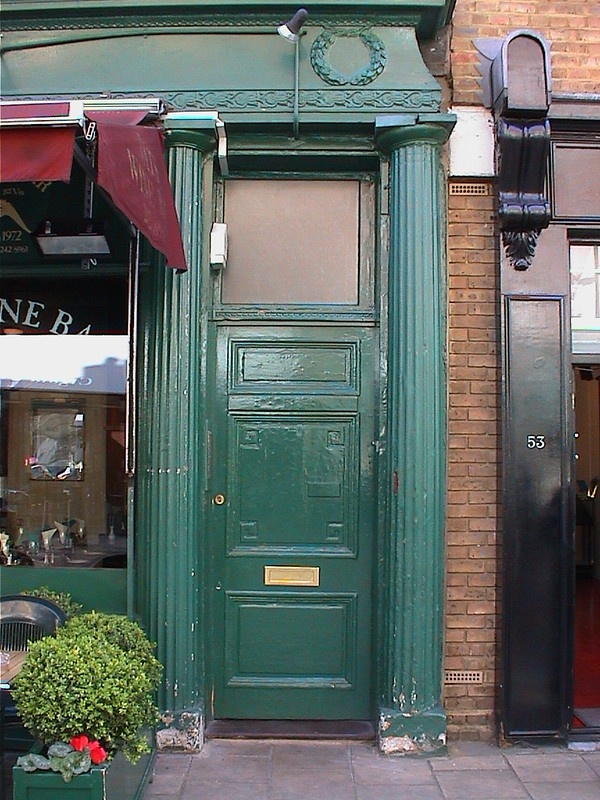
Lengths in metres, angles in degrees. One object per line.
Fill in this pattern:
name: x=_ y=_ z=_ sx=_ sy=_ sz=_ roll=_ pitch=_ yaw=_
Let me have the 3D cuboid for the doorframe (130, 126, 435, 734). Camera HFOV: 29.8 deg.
doorframe: x=-0.066 y=0.224 z=6.780 sx=2.089 sy=3.612 sz=0.457 roll=-2 pitch=-3 yaw=30

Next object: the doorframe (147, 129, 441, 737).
doorframe: x=0.007 y=0.225 z=7.010 sx=2.103 sy=3.781 sz=0.567 roll=-1 pitch=-2 yaw=27
